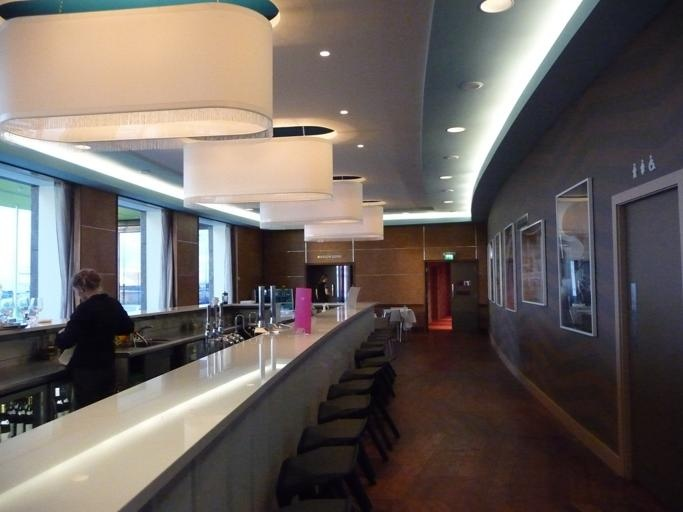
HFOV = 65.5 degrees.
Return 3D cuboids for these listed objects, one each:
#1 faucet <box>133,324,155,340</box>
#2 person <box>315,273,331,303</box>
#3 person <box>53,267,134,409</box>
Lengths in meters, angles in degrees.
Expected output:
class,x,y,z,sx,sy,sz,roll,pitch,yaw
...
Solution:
class,x,y,z,sx,sy,sz,roll,pitch,yaw
faucet,-2.292,0.901,6.246,0.173,0.201,0.383,-2,-1,5
person,-0.516,0.893,15.137,0.457,0.819,1.543,-2,-1,-2
person,-2.073,0.688,4.507,0.589,1.169,0.279,-1,-1,-25
